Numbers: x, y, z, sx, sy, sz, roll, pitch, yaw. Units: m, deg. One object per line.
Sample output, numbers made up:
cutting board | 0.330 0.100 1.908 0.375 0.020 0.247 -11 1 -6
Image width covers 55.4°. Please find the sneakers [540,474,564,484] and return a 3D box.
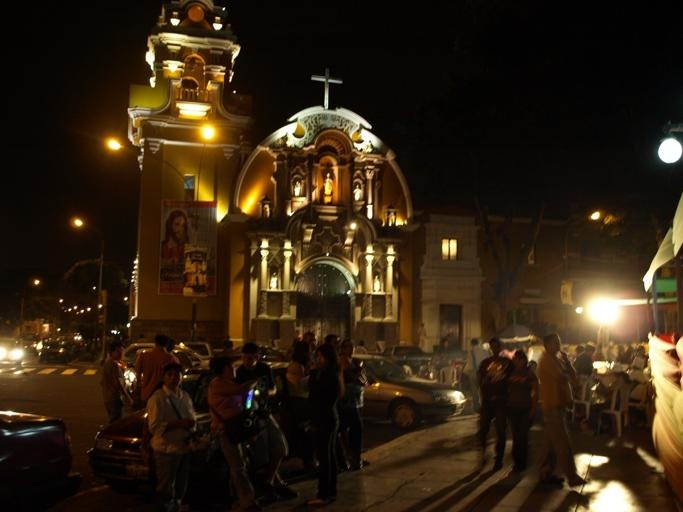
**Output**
sneakers | 3.596 3.841 11.120 0.404 0.191 0.138 -3 0 -19

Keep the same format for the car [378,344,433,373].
car | 2.904 4.363 28.285 1.014 0.883 1.644 5 -10 -36

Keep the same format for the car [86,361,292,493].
car | -2.617 3.124 11.853 3.405 1.772 1.927 13 -19 -39

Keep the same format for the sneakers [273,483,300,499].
sneakers | -0.930 3.860 10.698 0.461 0.214 0.167 16 -2 -8

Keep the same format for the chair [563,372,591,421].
chair | 5.738 3.465 15.792 0.518 0.843 0.514 -4 -5 36
